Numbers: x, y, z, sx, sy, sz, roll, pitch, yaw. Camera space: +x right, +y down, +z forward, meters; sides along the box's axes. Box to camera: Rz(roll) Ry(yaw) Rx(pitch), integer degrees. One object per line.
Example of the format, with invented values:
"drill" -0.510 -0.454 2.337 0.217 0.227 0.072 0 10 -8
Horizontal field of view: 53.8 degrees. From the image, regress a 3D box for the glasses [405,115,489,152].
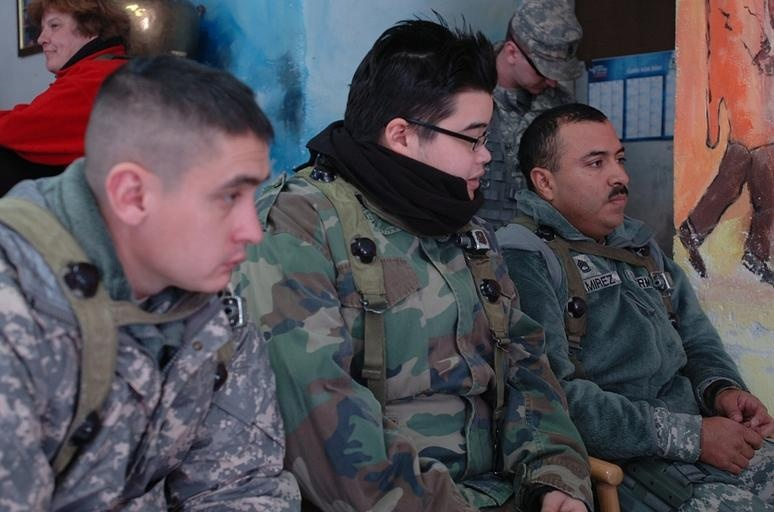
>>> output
"glasses" 0.203 -0.407 2.524 0.149 0.043 0.144 23 8 -7
